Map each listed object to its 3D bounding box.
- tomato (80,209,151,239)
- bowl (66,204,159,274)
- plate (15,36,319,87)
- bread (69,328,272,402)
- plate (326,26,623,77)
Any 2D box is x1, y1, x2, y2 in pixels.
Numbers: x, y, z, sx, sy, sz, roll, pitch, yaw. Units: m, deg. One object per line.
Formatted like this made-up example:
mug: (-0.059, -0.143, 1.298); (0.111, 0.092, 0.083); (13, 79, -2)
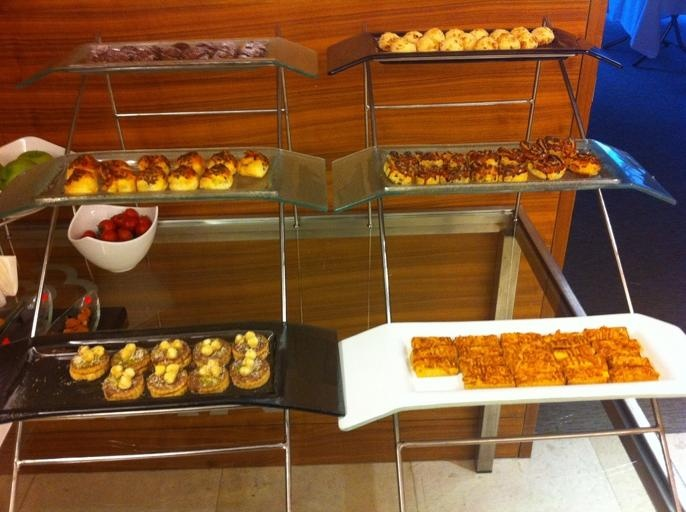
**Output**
tomato: (-0.576, -0.075, 1.468); (0.112, 0.043, 0.105); (-9, 20, -7)
bowl: (-0.612, -0.053, 1.481); (0.224, 0.138, 0.195); (8, 33, 10)
plate: (-0.382, -0.479, 1.343); (0.763, 0.059, 0.249); (-1, 26, -2)
bread: (-0.358, 0.230, 1.172); (0.334, 0.053, 0.167); (1, 38, 5)
plate: (0.312, -0.522, 1.400); (0.710, 0.060, 0.266); (-1, 39, 2)
